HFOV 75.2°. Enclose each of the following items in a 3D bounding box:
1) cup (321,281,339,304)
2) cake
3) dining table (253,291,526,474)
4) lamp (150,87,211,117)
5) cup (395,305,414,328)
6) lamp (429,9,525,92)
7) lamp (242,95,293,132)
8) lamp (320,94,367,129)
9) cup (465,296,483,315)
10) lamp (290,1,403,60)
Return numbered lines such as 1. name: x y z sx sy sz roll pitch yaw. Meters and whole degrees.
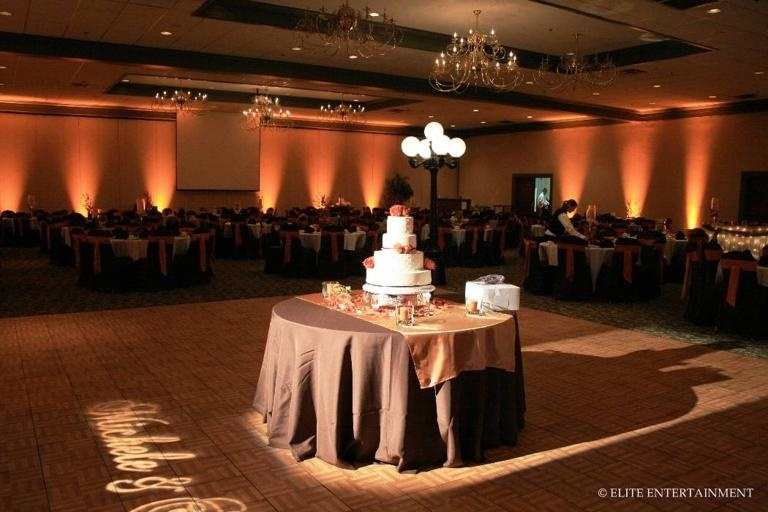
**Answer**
1. cup: -0.485 0.370 4.750 0.192 0.202 0.193 0 -2 0
2. cake: 0.146 -0.088 4.718 0.703 0.708 0.706 7 10 37
3. dining table: 0.096 0.973 4.854 2.527 1.162 2.465 6 13 30
4. lamp: -5.785 -4.355 14.076 1.406 0.681 1.369 -5 10 -43
5. cup: 0.158 0.496 4.040 0.162 0.146 0.154 0 4 0
6. lamp: 1.559 -3.558 8.274 0.871 0.778 0.911 11 7 38
7. lamp: -3.146 -3.660 12.871 0.883 0.786 0.595 1 14 39
8. lamp: -1.240 -4.370 15.272 1.660 0.999 1.533 -14 25 -39
9. cup: 0.766 0.451 4.315 0.137 0.138 0.130 0 0 0
10. lamp: -0.693 -3.606 8.186 1.524 0.884 1.552 4 14 6
